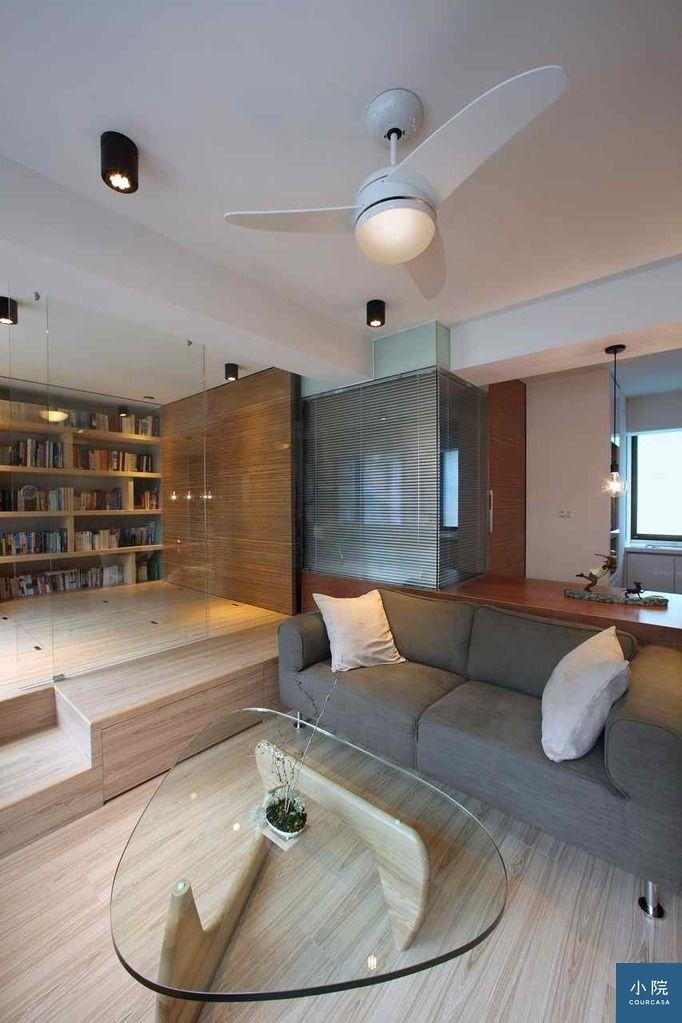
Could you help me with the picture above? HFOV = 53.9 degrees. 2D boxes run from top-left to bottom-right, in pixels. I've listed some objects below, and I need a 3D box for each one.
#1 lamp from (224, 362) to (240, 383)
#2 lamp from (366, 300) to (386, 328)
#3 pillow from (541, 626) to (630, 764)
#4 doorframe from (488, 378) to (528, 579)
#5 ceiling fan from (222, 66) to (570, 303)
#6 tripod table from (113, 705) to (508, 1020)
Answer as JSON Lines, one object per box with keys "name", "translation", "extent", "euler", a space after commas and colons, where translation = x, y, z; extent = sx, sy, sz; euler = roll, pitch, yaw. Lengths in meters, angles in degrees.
{"name": "lamp", "translation": [-0.664, -0.845, 4.083], "extent": [0.099, 0.113, 0.101], "euler": [-1, 0, 41]}
{"name": "lamp", "translation": [0.171, -0.991, 3.382], "extent": [0.104, 0.118, 0.106], "euler": [-1, -1, 43]}
{"name": "pillow", "translation": [0.912, 0.673, 2.576], "extent": [0.320, 0.363, 0.583], "euler": [-3, 2, 18]}
{"name": "doorframe", "translation": [1.203, -0.217, 4.859], "extent": [0.119, 1.495, 1.131], "euler": [-2, 3, 24]}
{"name": "ceiling fan", "translation": [0.209, -0.857, 1.741], "extent": [0.600, 0.300, 0.602], "euler": [-3, -5, 27]}
{"name": "tripod table", "translation": [-0.111, 1.051, 2.113], "extent": [1.081, 0.274, 1.077], "euler": [-4, 3, -6]}
